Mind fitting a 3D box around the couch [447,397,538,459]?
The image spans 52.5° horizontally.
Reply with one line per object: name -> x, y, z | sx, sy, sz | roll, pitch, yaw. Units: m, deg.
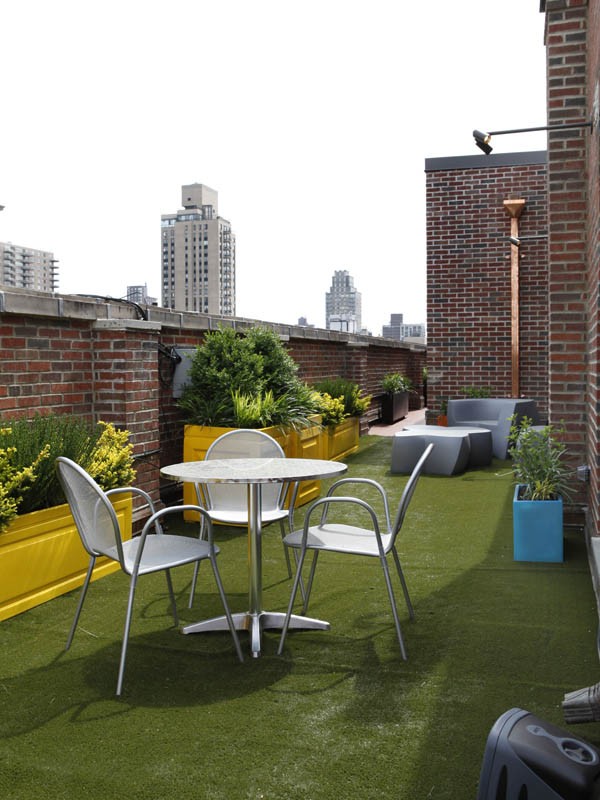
couch -> 2.876, 0.371, 9.360 | 1.044, 0.734, 0.925 | 3, 3, 42

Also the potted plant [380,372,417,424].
potted plant -> 2.297, -0.039, 14.384 | 0.499, 0.920, 1.286 | 1, 3, 16

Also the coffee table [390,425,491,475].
coffee table -> 1.733, 0.620, 7.555 | 0.864, 0.325, 0.932 | -2, 8, 1

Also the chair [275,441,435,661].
chair -> 0.161, 0.686, 3.183 | 0.748, 1.027, 0.648 | 12, 5, -41

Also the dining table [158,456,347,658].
dining table -> -0.185, 0.730, 2.946 | 0.850, 0.778, 0.867 | 15, -28, -39

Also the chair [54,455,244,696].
chair -> -0.669, 0.682, 2.639 | 0.630, 0.923, 0.592 | -4, 4, -37

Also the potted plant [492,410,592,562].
potted plant -> 1.691, 0.578, 4.646 | 0.846, 1.312, 0.876 | -1, 4, 12

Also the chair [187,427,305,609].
chair -> -0.327, 0.692, 3.553 | 0.669, 0.989, 0.733 | 1, -1, 8

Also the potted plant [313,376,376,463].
potted plant -> 0.565, 0.186, 9.249 | 0.877, 1.157, 1.075 | 11, 2, 15
